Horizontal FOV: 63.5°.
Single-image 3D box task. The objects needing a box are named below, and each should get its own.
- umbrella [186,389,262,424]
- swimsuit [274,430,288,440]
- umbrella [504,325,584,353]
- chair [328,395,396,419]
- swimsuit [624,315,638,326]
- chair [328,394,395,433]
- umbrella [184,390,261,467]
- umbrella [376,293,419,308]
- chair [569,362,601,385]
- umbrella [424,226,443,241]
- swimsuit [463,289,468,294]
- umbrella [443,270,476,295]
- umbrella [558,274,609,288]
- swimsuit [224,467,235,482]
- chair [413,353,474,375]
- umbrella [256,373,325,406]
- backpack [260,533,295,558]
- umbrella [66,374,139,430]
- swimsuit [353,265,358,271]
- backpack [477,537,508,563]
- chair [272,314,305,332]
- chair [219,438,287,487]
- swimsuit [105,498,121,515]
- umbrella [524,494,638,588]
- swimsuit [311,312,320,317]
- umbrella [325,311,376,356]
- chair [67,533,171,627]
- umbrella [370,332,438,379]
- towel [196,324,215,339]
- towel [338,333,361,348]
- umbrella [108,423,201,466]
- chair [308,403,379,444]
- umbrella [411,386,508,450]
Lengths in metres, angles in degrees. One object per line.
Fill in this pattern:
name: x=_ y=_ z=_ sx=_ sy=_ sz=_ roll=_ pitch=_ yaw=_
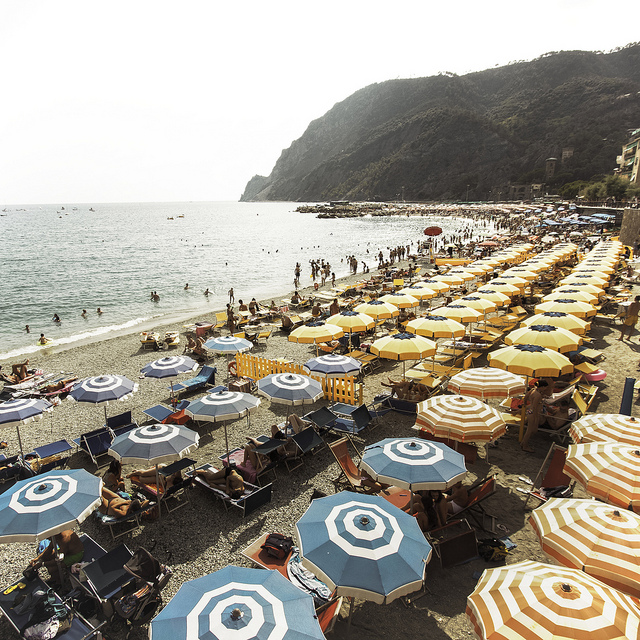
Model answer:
umbrella: x=-1.729 y=1.564 z=9.608 sx=1.071 sy=0.315 sz=0.989 roll=2 pitch=10 yaw=10
swimsuit: x=-0.811 y=2.349 z=10.451 sx=0.180 sy=0.085 sz=0.264 roll=2 pitch=7 yaw=-7
umbrella: x=4.920 y=0.386 z=11.483 sx=0.945 sy=0.303 sz=0.965 roll=10 pitch=18 yaw=44
chair: x=1.032 y=2.035 z=12.015 sx=1.090 sy=0.255 sz=0.616 roll=4 pitch=16 yaw=18
swimsuit: x=10.115 y=-0.016 z=16.920 sx=0.386 sy=0.295 sz=0.181 roll=4 pitch=29 yaw=-8
chair: x=0.840 y=2.069 z=11.786 sx=1.407 sy=0.707 sz=0.622 roll=12 pitch=17 yaw=26
umbrella: x=-1.800 y=2.037 z=9.785 sx=1.277 sy=1.190 sz=1.232 roll=-9 pitch=9 yaw=-40
umbrella: x=2.641 y=-0.651 z=16.991 sx=0.834 sy=0.257 sz=0.781 roll=10 pitch=14 yaw=12
chair: x=6.489 y=1.261 z=12.802 sx=0.582 sy=0.510 sz=0.572 roll=-33 pitch=35 yaw=-33
umbrella: x=10.576 y=-8.224 z=48.145 sx=1.746 sy=1.195 sz=1.589 roll=-3 pitch=7 yaw=-16
swimsuit: x=6.941 y=-1.446 z=24.874 sx=0.144 sy=0.067 sz=0.312 roll=11 pitch=21 yaw=25
umbrella: x=6.057 y=-1.629 z=21.839 sx=0.838 sy=0.708 sz=0.744 roll=1 pitch=15 yaw=-1
umbrella: x=9.480 y=-1.448 z=18.574 sx=0.968 sy=0.315 sz=0.929 roll=-18 pitch=20 yaw=-35
swimsuit: x=-1.635 y=2.772 z=9.199 sx=0.102 sy=0.195 sz=0.162 roll=22 pitch=-4 yaw=27
chair: x=3.276 y=1.253 z=13.835 sx=1.173 sy=0.625 sz=0.634 roll=3 pitch=18 yaw=23
umbrella: x=-0.605 y=1.393 z=10.481 sx=1.297 sy=0.304 sz=1.015 roll=8 pitch=19 yaw=35
backpack: x=-0.654 y=3.358 z=7.642 sx=0.389 sy=0.130 sz=0.281 roll=4 pitch=9 yaw=20
umbrella: x=-4.578 y=1.831 z=10.896 sx=1.329 sy=1.049 sz=1.202 roll=12 pitch=23 yaw=33
swimsuit: x=2.612 y=-3.998 z=38.936 sx=0.263 sy=0.224 sz=0.435 roll=10 pitch=30 yaw=5
backpack: x=2.572 y=3.502 z=7.808 sx=0.299 sy=0.162 sz=0.375 roll=-14 pitch=34 yaw=-32
chair: x=-1.118 y=0.185 z=21.174 sx=0.636 sy=0.323 sz=1.088 roll=22 pitch=41 yaw=36
chair: x=-1.226 y=2.632 z=10.000 sx=1.104 sy=0.600 sz=0.676 roll=19 pitch=24 yaw=39
swimsuit: x=-3.444 y=3.131 z=8.569 sx=0.231 sy=0.053 sz=0.199 roll=-4 pitch=24 yaw=-14
umbrella: x=3.237 y=2.609 z=6.289 sx=1.215 sy=0.435 sz=1.057 roll=-6 pitch=24 yaw=-6
swimsuit: x=-0.193 y=-0.201 z=21.780 sx=0.293 sy=0.140 sz=0.405 roll=-3 pitch=15 yaw=0
umbrella: x=0.926 y=0.277 z=14.622 sx=0.823 sy=0.764 sz=0.856 roll=14 pitch=22 yaw=39
chair: x=-2.845 y=3.596 z=7.287 sx=1.231 sy=0.790 sz=0.990 roll=41 pitch=39 yaw=15
umbrella: x=2.001 y=0.907 z=12.481 sx=1.427 sy=1.038 sz=1.294 roll=1 pitch=15 yaw=4
towel: x=-4.400 y=0.478 z=19.542 sx=0.502 sy=0.142 sz=0.671 roll=2 pitch=16 yaw=14
towel: x=0.985 y=0.665 z=17.181 sx=0.555 sy=0.548 sz=0.528 roll=10 pitch=45 yaw=19
umbrella: x=-2.765 y=2.064 z=8.588 sx=1.399 sy=0.368 sz=0.958 roll=-8 pitch=16 yaw=-17
chair: x=0.473 y=2.324 z=11.174 sx=1.336 sy=0.501 sz=0.706 roll=11 pitch=19 yaw=29
umbrella: x=2.441 y=1.950 z=9.255 sx=1.304 sy=0.778 sz=1.170 roll=2 pitch=22 yaw=7
